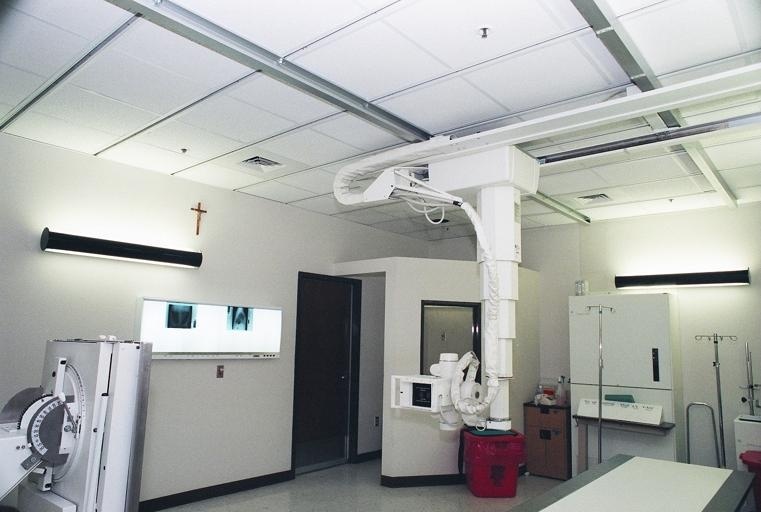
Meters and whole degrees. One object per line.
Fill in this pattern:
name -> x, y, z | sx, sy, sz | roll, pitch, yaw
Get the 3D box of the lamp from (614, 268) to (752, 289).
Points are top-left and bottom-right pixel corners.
lamp -> 4.480, 0.336, 7.853 | 1.720, 0.254, 0.216 | -2, -4, 28

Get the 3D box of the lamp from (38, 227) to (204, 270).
lamp -> -2.903, 0.072, 6.642 | 2.390, 0.413, 0.460 | 9, -14, -33

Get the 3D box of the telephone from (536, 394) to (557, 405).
telephone -> 2.592, 2.258, 8.241 | 0.244, 0.114, 0.148 | -11, -14, 39

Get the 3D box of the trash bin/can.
trash bin/can -> 1.570, 2.856, 7.342 | 0.776, 0.821, 1.019 | 4, -8, -11
